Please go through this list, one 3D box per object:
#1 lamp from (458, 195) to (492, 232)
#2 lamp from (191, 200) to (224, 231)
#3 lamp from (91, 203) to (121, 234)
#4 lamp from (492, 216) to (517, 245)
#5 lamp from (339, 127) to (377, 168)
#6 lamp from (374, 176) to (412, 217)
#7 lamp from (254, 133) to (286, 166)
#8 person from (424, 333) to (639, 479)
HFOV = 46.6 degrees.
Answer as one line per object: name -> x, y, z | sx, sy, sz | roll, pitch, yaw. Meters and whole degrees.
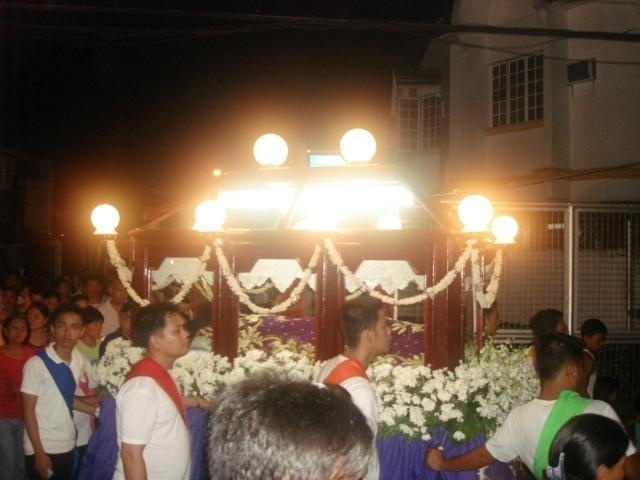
lamp -> 1.808, -0.292, 8.856 | 0.393, 0.497, 0.409 | -1, -5, -3
lamp -> -1.364, -0.289, 9.181 | 0.329, 0.379, 0.256 | 2, -10, -1
lamp -> -2.808, -0.274, 9.710 | 0.301, 0.419, 0.275 | 4, -10, -11
lamp -> 2.374, -0.128, 9.503 | 0.331, 0.405, 0.340 | 0, 6, -15
lamp -> 0.455, -1.138, 9.554 | 0.478, 0.444, 0.446 | -1, -48, 19
lamp -> 1.086, -0.592, 10.863 | 0.571, 0.254, 1.088 | 1, -11, 7
lamp -> -0.628, -1.193, 9.960 | 0.391, 0.505, 0.412 | 6, 3, -2
person -> 2.190, 1.837, 8.135 | 1.285, 1.518, 0.532 | 18, 43, 32
